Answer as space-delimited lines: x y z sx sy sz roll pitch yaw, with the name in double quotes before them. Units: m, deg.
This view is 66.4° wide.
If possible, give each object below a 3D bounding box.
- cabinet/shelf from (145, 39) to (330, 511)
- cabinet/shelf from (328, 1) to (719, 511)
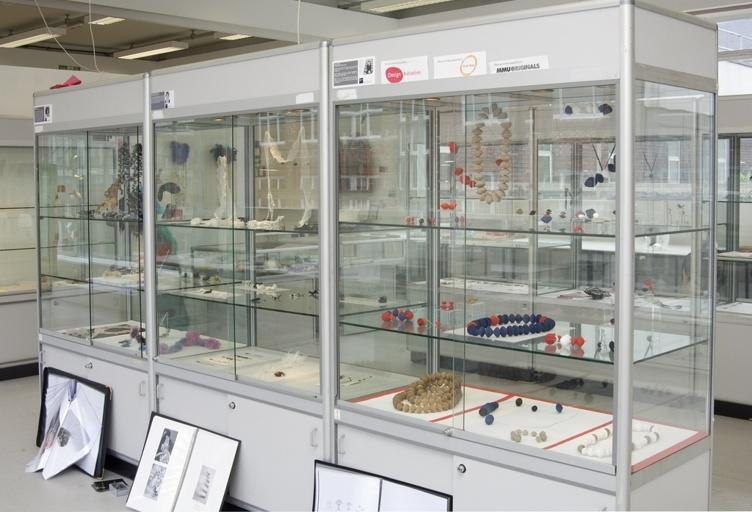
"cabinet/shelf" -1.023 0.200 4.142 1.859 3.170 0.458 5 10 40
"cabinet/shelf" 0.810 0.058 3.332 2.060 2.686 0.883 3 8 28
